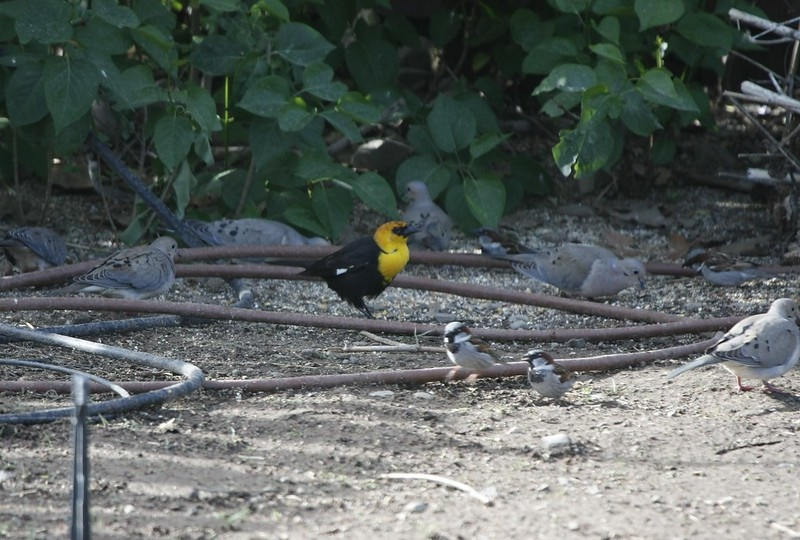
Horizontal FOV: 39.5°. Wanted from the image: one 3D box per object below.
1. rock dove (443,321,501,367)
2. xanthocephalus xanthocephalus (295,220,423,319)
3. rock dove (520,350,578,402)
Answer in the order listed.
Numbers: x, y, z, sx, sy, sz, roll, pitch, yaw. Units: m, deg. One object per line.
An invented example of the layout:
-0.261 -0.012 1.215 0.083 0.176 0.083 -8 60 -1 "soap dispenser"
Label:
0.571 0.522 7.591 0.591 0.322 0.293 0 2 -28 "rock dove"
-0.304 -0.026 8.887 0.988 0.764 0.452 7 13 18 "xanthocephalus xanthocephalus"
0.977 0.695 7.323 0.343 0.310 0.219 8 13 6 "rock dove"
